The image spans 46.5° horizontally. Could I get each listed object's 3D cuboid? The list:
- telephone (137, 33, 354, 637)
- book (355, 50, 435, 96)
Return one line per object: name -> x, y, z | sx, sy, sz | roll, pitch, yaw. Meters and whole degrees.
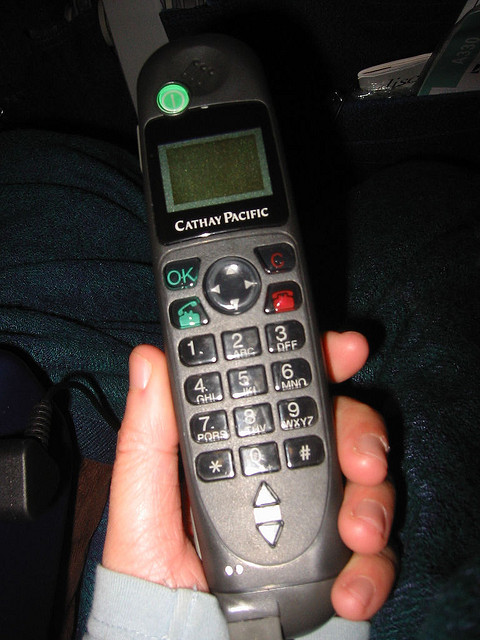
telephone -> 0.002, 0.009, 0.597 | 0.169, 0.132, 0.606 | -7, 90, 0
book -> 0.217, -0.355, 0.809 | 0.087, 0.073, 0.027 | -1, 84, 0
